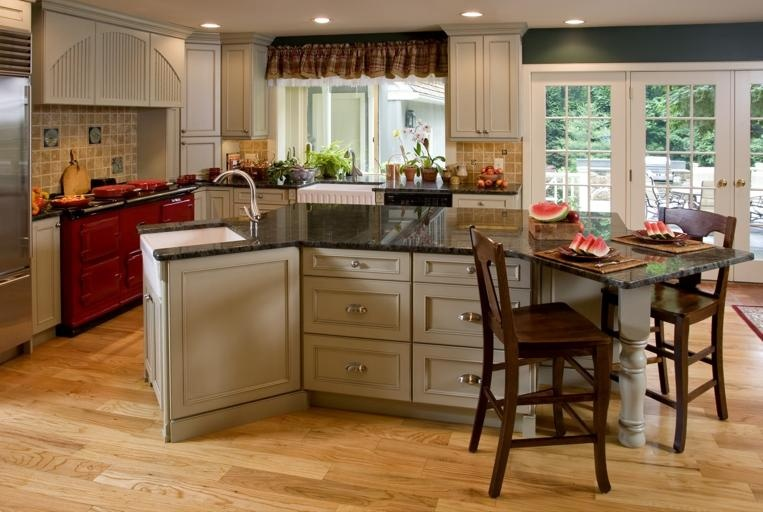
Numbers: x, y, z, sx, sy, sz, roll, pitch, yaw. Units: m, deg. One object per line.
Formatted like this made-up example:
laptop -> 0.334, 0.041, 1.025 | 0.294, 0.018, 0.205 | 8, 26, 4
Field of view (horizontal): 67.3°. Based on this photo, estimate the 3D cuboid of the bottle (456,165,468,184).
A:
bottle -> 0.950, -0.972, 6.761 | 0.131, 0.201, 0.237 | 2, 11, 8

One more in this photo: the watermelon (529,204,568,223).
watermelon -> 1.131, -0.299, 3.911 | 0.211, 0.122, 0.267 | -7, 13, -34

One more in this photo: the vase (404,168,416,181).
vase -> 0.341, -0.982, 6.915 | 0.122, 0.167, 0.169 | 2, 11, 9

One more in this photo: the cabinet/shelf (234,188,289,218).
cabinet/shelf -> -1.224, -0.568, 5.939 | 0.575, 0.463, 0.342 | 0, 3, 3

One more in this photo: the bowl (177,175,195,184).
bowl -> -2.266, -0.883, 6.623 | 0.117, 0.056, 0.174 | -8, 11, -40

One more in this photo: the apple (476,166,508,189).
apple -> 1.262, -0.881, 6.539 | 0.329, 0.168, 0.330 | 2, 5, 25

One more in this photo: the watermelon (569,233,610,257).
watermelon -> 1.189, -0.066, 3.294 | 0.202, 0.073, 0.133 | 3, 5, 6

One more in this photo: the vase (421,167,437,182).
vase -> 0.555, -0.961, 6.782 | 0.194, 0.115, 0.181 | -1, 8, -7

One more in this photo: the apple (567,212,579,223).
apple -> 1.303, -0.266, 3.886 | 0.070, 0.066, 0.092 | -5, 0, 33

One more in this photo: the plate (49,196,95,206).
plate -> -2.707, -0.481, 5.055 | 0.349, 0.081, 0.346 | -8, 13, -37

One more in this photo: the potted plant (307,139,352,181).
potted plant -> -0.596, -1.219, 7.311 | 0.565, 0.346, 0.537 | 2, 6, 18
